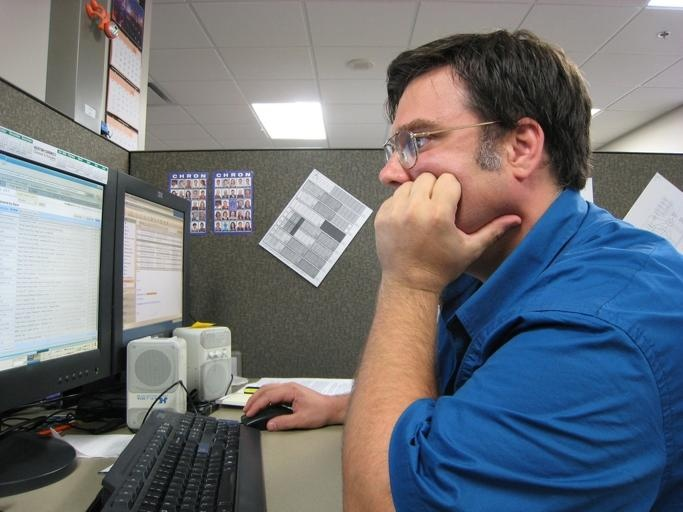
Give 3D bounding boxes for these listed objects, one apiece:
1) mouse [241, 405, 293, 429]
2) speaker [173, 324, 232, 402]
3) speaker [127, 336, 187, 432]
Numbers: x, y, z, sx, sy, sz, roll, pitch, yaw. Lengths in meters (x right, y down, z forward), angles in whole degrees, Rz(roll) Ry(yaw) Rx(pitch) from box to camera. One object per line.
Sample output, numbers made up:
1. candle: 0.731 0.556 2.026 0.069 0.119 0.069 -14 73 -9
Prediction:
1. mouse: -0.175 0.343 1.144 0.088 0.027 0.050 -22 15 -24
2. speaker: -0.371 0.284 1.335 0.128 0.186 0.143 -4 -6 34
3. speaker: -0.435 0.280 1.191 0.135 0.226 0.136 5 14 -1
